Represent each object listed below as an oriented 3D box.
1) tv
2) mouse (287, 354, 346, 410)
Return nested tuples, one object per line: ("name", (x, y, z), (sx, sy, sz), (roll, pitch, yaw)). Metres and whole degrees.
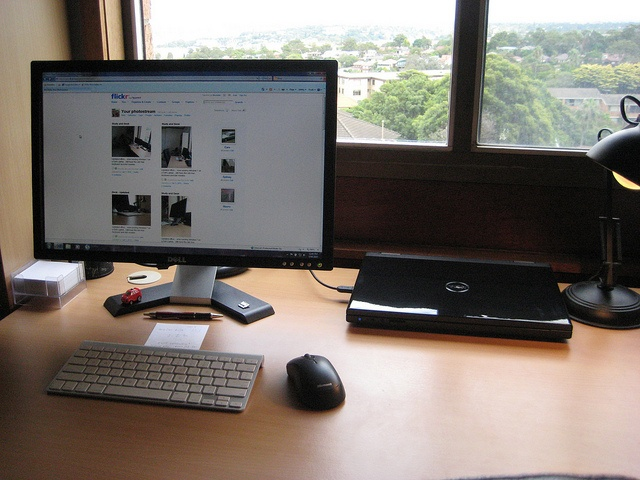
("tv", (-0.346, -0.137, 1.308), (0.727, 0.562, 0.250), (2, 5, 4))
("mouse", (-0.015, 0.282, 1.137), (0.101, 0.061, 0.178), (-4, 17, -21))
